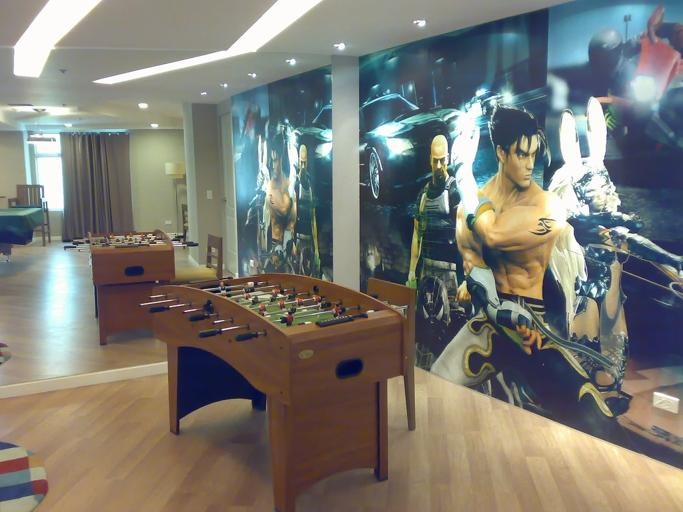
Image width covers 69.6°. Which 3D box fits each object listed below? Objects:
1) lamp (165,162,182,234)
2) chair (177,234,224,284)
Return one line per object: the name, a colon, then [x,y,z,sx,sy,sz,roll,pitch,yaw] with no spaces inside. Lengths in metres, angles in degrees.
lamp: [-1.631,-0.576,4.904,0.202,0.707,0.080,-7,8,-26]
chair: [-1.399,0.012,4.936,0.539,0.433,0.276,-9,8,-30]
